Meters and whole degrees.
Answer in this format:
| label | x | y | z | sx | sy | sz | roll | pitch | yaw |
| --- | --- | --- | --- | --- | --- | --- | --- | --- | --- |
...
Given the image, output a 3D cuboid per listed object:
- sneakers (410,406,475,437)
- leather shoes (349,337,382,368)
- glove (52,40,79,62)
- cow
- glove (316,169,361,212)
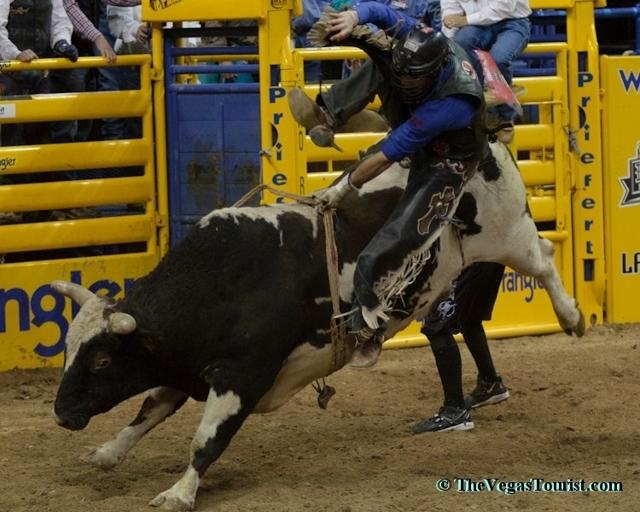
| label | x | y | z | sx | sy | sz | roll | pitch | yaw |
| --- | --- | --- | --- | --- | --- | --- | --- | --- | --- |
| sneakers | 0.874 | 1.265 | 8.029 | 0.575 | 0.221 | 0.177 | 0 | -3 | -3 |
| leather shoes | 0.331 | 0.660 | 7.200 | 0.142 | 0.105 | 0.280 | 26 | 53 | 26 |
| glove | -2.302 | -1.872 | 9.493 | 0.186 | 0.183 | 0.401 | -4 | 15 | -14 |
| cow | 0.462 | 0.349 | 7.122 | 4.838 | 1.892 | 1.470 | -19 | 23 | -13 |
| glove | 0.102 | -0.430 | 7.225 | 0.311 | 0.114 | 0.242 | -25 | 29 | 15 |
